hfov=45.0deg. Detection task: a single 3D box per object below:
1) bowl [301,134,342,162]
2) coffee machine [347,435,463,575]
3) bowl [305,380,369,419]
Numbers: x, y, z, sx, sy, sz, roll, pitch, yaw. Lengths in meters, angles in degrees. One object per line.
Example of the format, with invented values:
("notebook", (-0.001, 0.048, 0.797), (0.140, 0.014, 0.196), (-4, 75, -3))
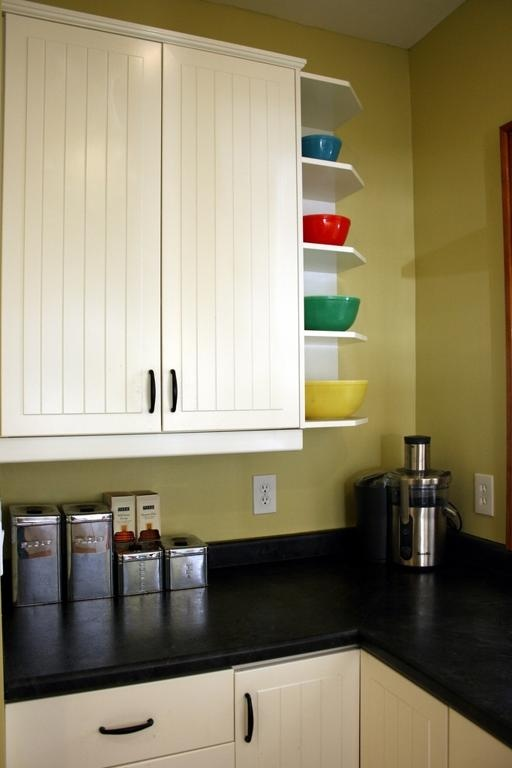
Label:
("bowl", (0.178, -0.631, 1.658), (0.072, 0.064, 0.098), (-3, 8, -23))
("coffee machine", (0.456, 0.334, 1.886), (0.204, 0.461, 0.353), (2, 3, 28))
("bowl", (0.207, 0.044, 1.627), (0.180, 0.107, 0.088), (-4, 1, -25))
